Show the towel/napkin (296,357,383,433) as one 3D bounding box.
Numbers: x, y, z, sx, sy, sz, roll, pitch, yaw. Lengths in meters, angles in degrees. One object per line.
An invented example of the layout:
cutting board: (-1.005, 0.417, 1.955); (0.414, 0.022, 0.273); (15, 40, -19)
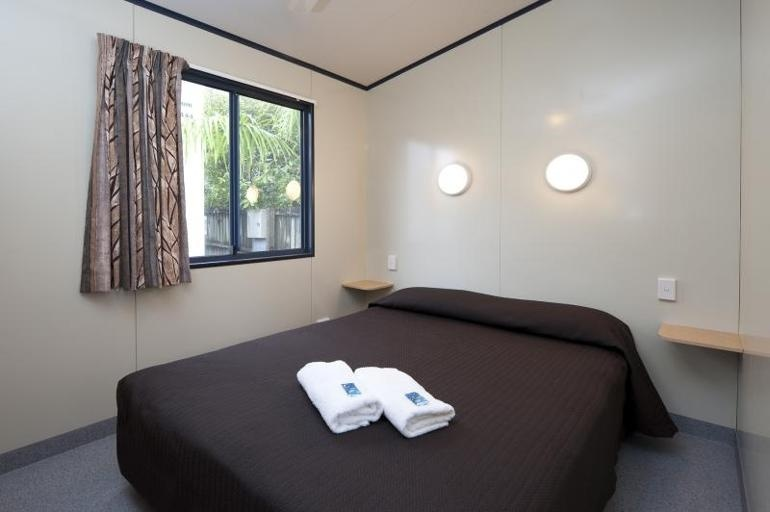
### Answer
towel/napkin: (-0.271, 0.801, 3.099); (0.351, 0.182, 0.532); (1, 19, -33)

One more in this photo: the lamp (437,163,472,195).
lamp: (0.617, -0.682, 4.667); (0.314, 0.292, 0.067); (4, 7, 43)

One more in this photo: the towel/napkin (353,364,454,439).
towel/napkin: (0.072, 0.795, 3.007); (0.285, 0.126, 0.446); (-5, 16, -32)
